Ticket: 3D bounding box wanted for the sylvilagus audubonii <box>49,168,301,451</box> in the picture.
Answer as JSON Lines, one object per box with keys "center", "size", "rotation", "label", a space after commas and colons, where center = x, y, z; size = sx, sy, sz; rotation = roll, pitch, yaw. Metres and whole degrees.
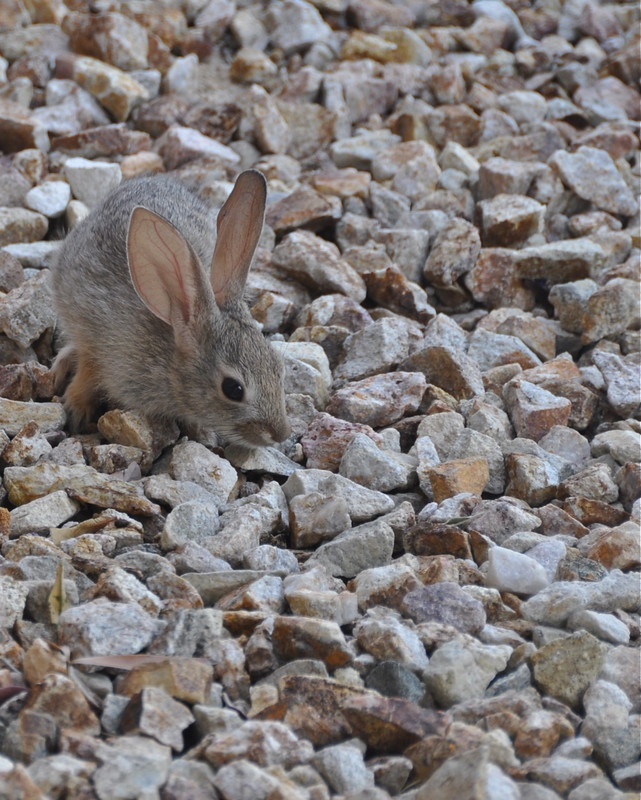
{"center": [-0.511, -0.282, 3.553], "size": [0.895, 0.919, 0.915], "rotation": [-12, 19, -17], "label": "sylvilagus audubonii"}
